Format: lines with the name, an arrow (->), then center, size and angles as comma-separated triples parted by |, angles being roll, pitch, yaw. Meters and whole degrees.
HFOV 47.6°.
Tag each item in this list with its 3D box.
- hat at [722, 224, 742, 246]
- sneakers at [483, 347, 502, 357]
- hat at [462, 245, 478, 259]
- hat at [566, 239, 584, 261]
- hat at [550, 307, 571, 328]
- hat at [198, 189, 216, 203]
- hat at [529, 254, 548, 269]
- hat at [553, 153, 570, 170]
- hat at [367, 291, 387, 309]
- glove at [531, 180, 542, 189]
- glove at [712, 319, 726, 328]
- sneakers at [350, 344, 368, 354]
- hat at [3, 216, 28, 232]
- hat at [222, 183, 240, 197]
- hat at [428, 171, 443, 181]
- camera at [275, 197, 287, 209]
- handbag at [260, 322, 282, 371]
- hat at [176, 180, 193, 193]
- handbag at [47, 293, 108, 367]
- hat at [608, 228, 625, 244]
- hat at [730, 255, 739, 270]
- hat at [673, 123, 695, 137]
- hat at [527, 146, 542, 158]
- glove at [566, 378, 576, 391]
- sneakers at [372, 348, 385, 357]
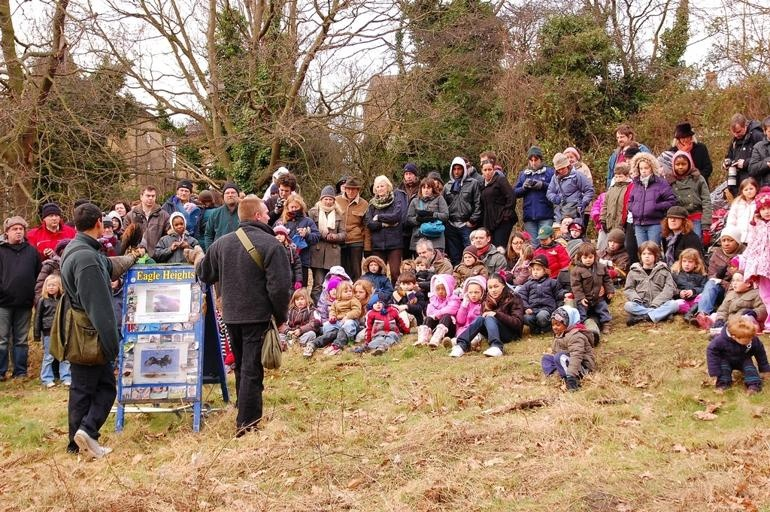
hat -> 6.022, -0.375, 15.173 | 0.305, 0.291, 0.271 | 11, -5, -26
sneakers -> 1.870, 1.638, 15.080 | 0.153, 0.116, 0.269 | 8, -5, -25
hat -> 1.637, -0.107, 16.735 | 0.204, 0.169, 0.213 | 8, -31, 37
hat -> 3.589, -0.175, 16.568 | 0.322, 0.375, 0.400 | -16, -25, 36
hat -> 2.835, 0.978, 14.063 | 0.225, 0.293, 0.305 | -12, 5, 42
hat -> -3.617, -1.204, 17.711 | 0.229, 0.267, 0.283 | 4, 16, 0
hat -> 2.793, 0.089, 15.760 | 0.273, 0.179, 0.208 | 26, -6, -12
hat -> 3.474, -1.852, 17.409 | 0.277, 0.254, 0.326 | -34, -4, 4
hat -> -0.157, 0.824, 16.740 | 0.269, 0.340, 0.303 | 2, -2, 7
glove -> 3.033, -1.420, 17.521 | 0.153, 0.107, 0.216 | 24, 11, 26
glove -> 5.426, 1.085, 14.188 | 0.192, 0.066, 0.157 | 9, 38, 37
sneakers -> -0.469, 1.701, 16.202 | 0.218, 0.102, 0.156 | 1, 4, 6
hat -> -7.042, -0.619, 16.687 | 0.458, 0.292, 0.582 | -1, -10, -33
hat -> -3.067, -1.315, 17.455 | 0.208, 0.219, 0.275 | 1, -3, -8
hat -> 1.063, -1.652, 18.127 | 0.210, 0.147, 0.277 | -1, -14, 39
camera -> -2.091, -1.074, 17.749 | 0.187, 0.193, 0.084 | -22, -32, 27
handbag -> -1.717, 1.331, 13.163 | 0.314, 0.896, 0.692 | -1, -10, -7
hat -> -4.092, -1.454, 17.819 | 0.281, 0.301, 0.378 | 8, -16, -6
handbag -> -4.469, 1.079, 12.860 | 0.734, 1.380, 1.257 | -7, 8, -29
hat -> 4.456, -0.377, 16.693 | 0.312, 0.258, 0.231 | 25, 2, -42
hat -> 5.989, 0.113, 15.003 | 0.122, 0.169, 0.159 | 19, 31, 33
hat -> 5.742, -2.390, 16.826 | 0.288, 0.165, 0.312 | -19, 0, 18
hat -> 3.057, -2.119, 17.850 | 0.217, 0.257, 0.271 | -3, -2, 3
glove -> 2.892, 1.963, 13.544 | 0.191, 0.199, 0.151 | 0, -2, -4
sneakers -> -0.119, 1.729, 15.911 | 0.140, 0.149, 0.216 | -21, 0, 9
